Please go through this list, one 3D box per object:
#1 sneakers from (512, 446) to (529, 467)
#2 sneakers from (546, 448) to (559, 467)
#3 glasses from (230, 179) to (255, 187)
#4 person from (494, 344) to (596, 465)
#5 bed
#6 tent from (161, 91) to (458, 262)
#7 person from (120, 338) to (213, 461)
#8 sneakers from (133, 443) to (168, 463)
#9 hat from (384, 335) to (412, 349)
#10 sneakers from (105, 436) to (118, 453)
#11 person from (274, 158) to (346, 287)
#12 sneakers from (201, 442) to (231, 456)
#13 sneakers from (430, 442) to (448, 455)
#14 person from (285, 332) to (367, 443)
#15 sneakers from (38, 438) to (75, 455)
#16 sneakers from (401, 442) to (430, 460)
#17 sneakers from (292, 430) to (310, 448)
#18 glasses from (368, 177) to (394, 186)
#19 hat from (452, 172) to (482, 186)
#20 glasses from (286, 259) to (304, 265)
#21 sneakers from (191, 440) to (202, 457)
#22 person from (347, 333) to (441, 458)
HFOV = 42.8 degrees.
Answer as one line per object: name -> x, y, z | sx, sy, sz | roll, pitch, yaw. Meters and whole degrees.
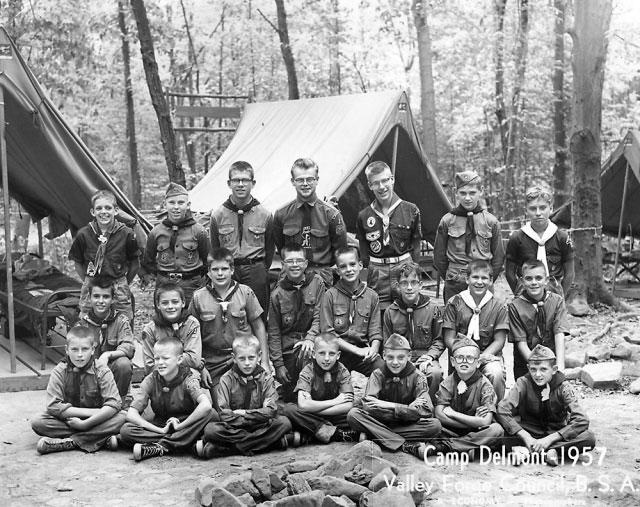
sneakers -> 1.395, 1.425, 5.712 | 0.129, 0.092, 0.121 | -2, 10, -15
sneakers -> 1.605, 1.421, 5.640 | 0.062, 0.057, 0.117 | 5, 6, 15
glasses -> -0.666, -0.616, 7.026 | 0.212, 0.067, 0.156 | -2, 10, -12
person -> 1.626, 1.148, 6.010 | 0.750, 0.888, 0.721 | -1, 5, 21
bed -> -2.713, 0.565, 8.134 | 0.783, 0.640, 1.367 | -3, 7, -32
tent -> -0.041, -1.511, 11.627 | 2.711, 1.309, 2.835 | 2, 6, 34
person -> -1.098, 1.051, 5.985 | 0.600, 0.855, 0.833 | 0, 0, 10
sneakers -> -1.211, 1.424, 5.847 | 0.103, 0.098, 0.272 | -14, -8, 27
hat -> 0.596, 0.676, 6.177 | 0.139, 0.082, 0.209 | 1, -6, 6
sneakers -> -1.522, 1.401, 5.950 | 0.048, 0.068, 0.150 | -6, 9, -10
person -> -0.096, -0.033, 7.156 | 0.584, 1.561, 0.411 | -3, 6, 5
sneakers -> -0.751, 1.420, 5.927 | 0.206, 0.097, 0.071 | -1, 3, -29
sneakers -> 0.868, 1.406, 5.835 | 0.115, 0.076, 0.066 | 1, 9, 7
person -> 0.061, 1.030, 6.237 | 0.561, 0.818, 0.540 | 1, 3, 3
sneakers -> -1.905, 1.377, 5.930 | 0.279, 0.109, 0.117 | -3, -11, -42
sneakers -> 0.692, 1.412, 5.834 | 0.211, 0.079, 0.092 | 18, 16, 29
sneakers -> -0.138, 1.396, 6.090 | 0.059, 0.085, 0.187 | 2, 4, 19
glasses -> 0.535, -0.622, 7.065 | 0.200, 0.096, 0.257 | 0, 10, 2
hat -> 1.285, -0.651, 7.095 | 0.212, 0.140, 0.338 | 1, 10, 8
glasses -> -0.206, 0.073, 6.715 | 0.138, 0.055, 0.046 | -1, 9, -7
sneakers -> -0.888, 1.410, 5.861 | 0.060, 0.080, 0.118 | 3, 10, -2
person -> 0.468, 1.040, 6.192 | 0.710, 0.982, 0.769 | 0, 0, 6
